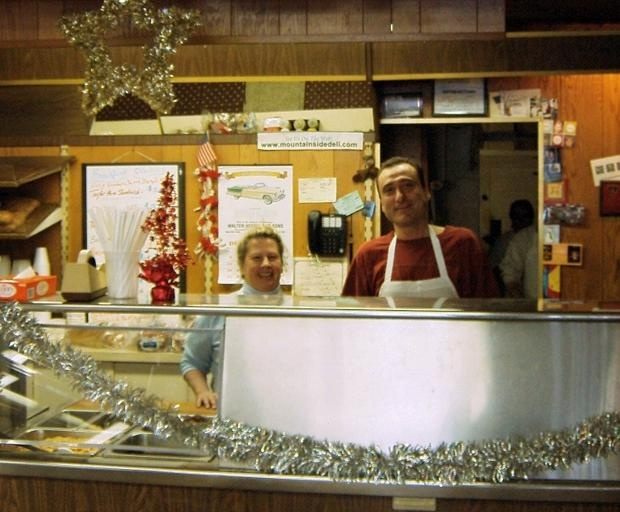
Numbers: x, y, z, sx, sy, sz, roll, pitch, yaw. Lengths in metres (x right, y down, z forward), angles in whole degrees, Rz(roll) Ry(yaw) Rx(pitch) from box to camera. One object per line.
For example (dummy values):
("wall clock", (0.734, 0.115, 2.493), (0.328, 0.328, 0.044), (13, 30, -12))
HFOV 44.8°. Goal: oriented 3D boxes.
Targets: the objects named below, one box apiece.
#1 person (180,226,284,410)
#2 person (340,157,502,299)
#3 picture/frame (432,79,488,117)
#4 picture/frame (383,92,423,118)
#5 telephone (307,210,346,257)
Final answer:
("person", (-0.199, 0.252, 2.663), (0.546, 0.673, 0.379), (1, 8, -3))
("person", (0.479, -0.062, 3.441), (0.796, 0.685, 0.361), (-3, -7, 26))
("picture/frame", (0.874, -0.922, 4.494), (0.281, 0.229, 0.062), (1, 0, 0))
("picture/frame", (0.529, -0.862, 4.344), (0.288, 0.158, 0.144), (0, 6, -2))
("telephone", (0.089, -0.123, 4.063), (0.241, 0.223, 0.102), (1, 10, -3))
